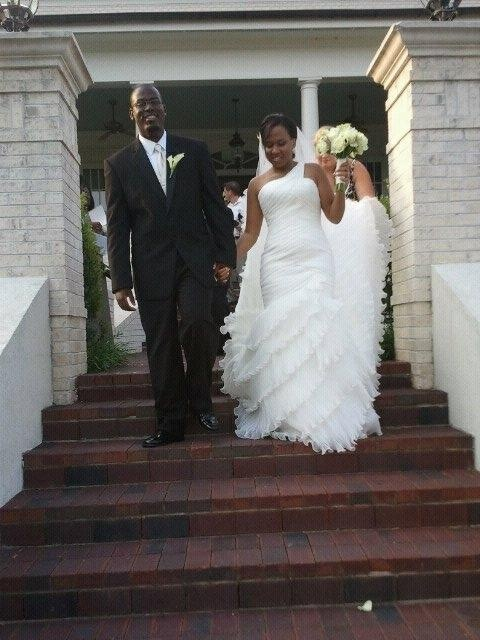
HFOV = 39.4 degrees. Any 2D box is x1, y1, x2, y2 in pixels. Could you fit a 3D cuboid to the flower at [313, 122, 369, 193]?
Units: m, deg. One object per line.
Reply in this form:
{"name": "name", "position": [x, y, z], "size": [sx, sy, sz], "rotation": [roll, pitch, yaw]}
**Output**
{"name": "flower", "position": [0.592, -1.021, 3.868], "size": [0.266, 0.213, 0.301], "rotation": [0, 8, 17]}

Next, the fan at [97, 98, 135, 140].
{"name": "fan", "position": [-1.922, -3.050, 10.177], "size": [0.484, 0.601, 0.578], "rotation": [-10, -8, -1]}

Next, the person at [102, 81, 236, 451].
{"name": "person", "position": [-0.356, -0.301, 3.671], "size": [0.717, 1.918, 0.441], "rotation": [-3, 6, -14]}

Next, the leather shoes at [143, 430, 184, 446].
{"name": "leather shoes", "position": [-0.416, 0.633, 3.614], "size": [0.203, 0.106, 0.082], "rotation": [6, -8, -38]}

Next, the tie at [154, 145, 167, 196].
{"name": "tie", "position": [-0.436, -0.830, 3.652], "size": [0.063, 0.293, 0.045], "rotation": [-5, -14, -5]}

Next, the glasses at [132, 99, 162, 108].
{"name": "glasses", "position": [-0.486, -1.133, 3.527], "size": [0.134, 0.057, 0.052], "rotation": [-5, 7, -16]}

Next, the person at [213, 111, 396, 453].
{"name": "person", "position": [0.318, -0.257, 3.842], "size": [0.885, 2.005, 0.611], "rotation": [-9, -14, 9]}
